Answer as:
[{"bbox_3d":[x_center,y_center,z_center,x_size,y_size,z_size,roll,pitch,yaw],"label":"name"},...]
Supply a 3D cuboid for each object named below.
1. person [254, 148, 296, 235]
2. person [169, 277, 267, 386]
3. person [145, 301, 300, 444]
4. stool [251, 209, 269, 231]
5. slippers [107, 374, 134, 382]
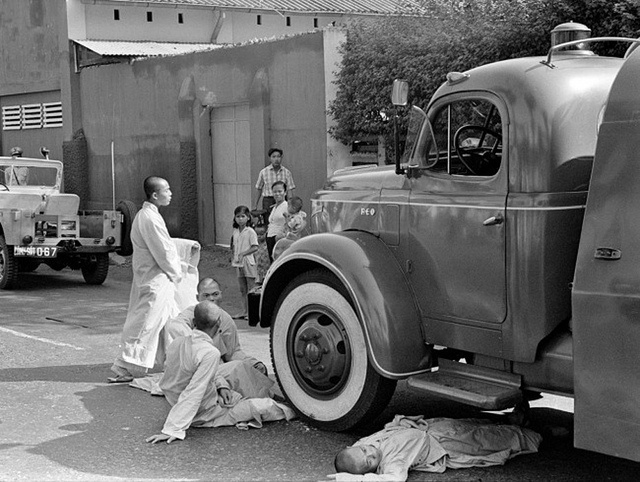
[{"bbox_3d":[-0.770,-0.666,14.703,0.722,1.972,0.376,0,-7,2],"label":"person"},{"bbox_3d":[-1.155,0.991,8.814,1.056,1.203,0.702,-6,12,-25],"label":"person"},{"bbox_3d":[-0.947,1.197,8.175,0.930,1.231,1.657,-6,-4,37],"label":"person"},{"bbox_3d":[-1.091,-0.441,15.030,0.341,0.426,0.300,-4,-7,32],"label":"stool"},{"bbox_3d":[-2.211,1.531,9.383,0.266,0.093,0.112,6,-4,0],"label":"slippers"}]
